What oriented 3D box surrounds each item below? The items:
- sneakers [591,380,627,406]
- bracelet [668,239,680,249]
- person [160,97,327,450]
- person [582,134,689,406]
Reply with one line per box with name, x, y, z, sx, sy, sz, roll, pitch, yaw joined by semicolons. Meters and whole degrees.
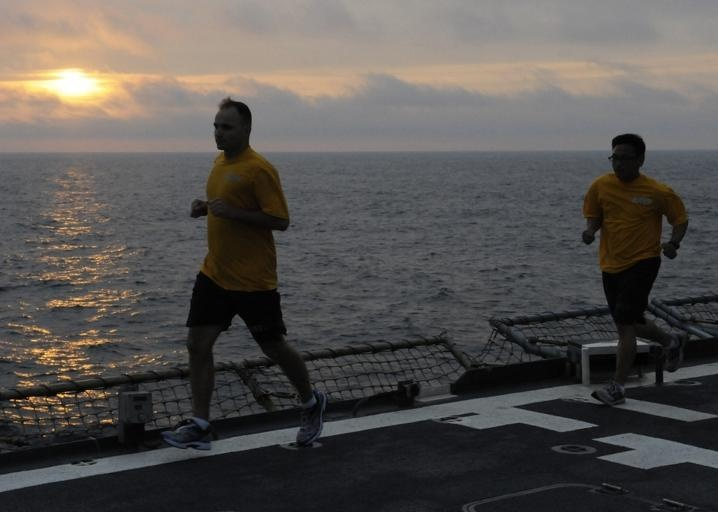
sneakers;2.066;1.141;5.666;0.377;0.153;0.133;6;4;-25
bracelet;2.676;-0.096;5.813;0.104;0.035;0.093;21;1;-4
person;-0.809;0.117;4.694;1.075;2.424;0.607;-2;-1;-15
person;2.394;0.095;5.984;0.870;1.895;1.329;-2;-1;24
